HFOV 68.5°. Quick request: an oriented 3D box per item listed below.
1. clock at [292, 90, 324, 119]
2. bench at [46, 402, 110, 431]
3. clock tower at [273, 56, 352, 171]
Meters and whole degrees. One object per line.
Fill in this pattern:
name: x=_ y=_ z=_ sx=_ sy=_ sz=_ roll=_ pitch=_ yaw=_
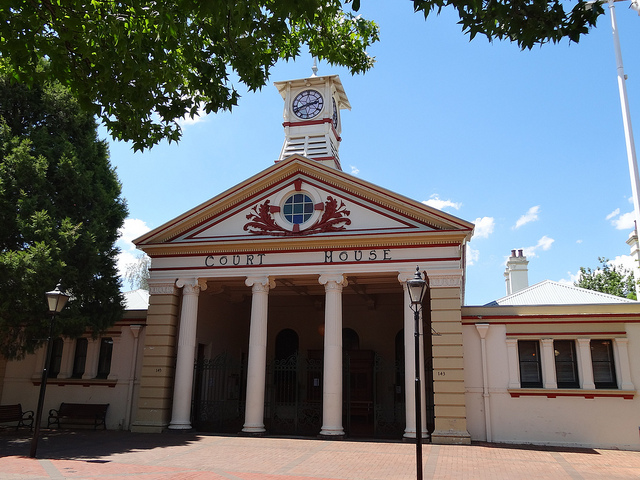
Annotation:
clock: x=-0.559 y=-7.583 z=26.295 sx=1.754 sy=1.802 sz=0.144 roll=1 pitch=-8 yaw=15
bench: x=-10.180 y=7.391 z=19.772 sx=2.600 sy=1.047 sz=0.905 roll=-4 pitch=-20 yaw=12
clock tower: x=-0.423 y=-7.079 z=26.397 sx=3.592 sy=6.951 sz=2.232 roll=3 pitch=-20 yaw=-6
